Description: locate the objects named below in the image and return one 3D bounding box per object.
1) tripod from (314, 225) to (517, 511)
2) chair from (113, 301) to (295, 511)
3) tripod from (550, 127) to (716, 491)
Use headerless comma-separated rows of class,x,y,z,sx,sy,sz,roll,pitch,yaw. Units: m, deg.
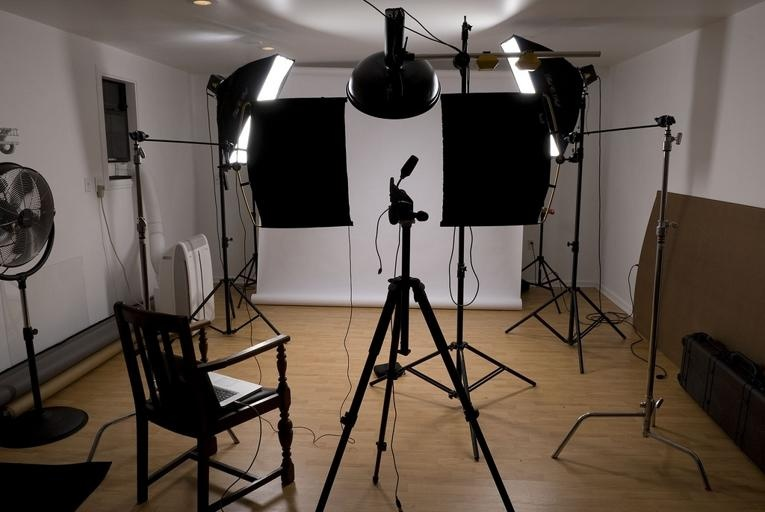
tripod,0.115,0.660,4.083,1.164,1.901,1.240,-2,13,-7
chair,-1.211,0.953,4.039,1.097,1.367,0.702,5,14,22
tripod,1.973,0.149,4.828,1.029,2.450,1.901,4,14,17
